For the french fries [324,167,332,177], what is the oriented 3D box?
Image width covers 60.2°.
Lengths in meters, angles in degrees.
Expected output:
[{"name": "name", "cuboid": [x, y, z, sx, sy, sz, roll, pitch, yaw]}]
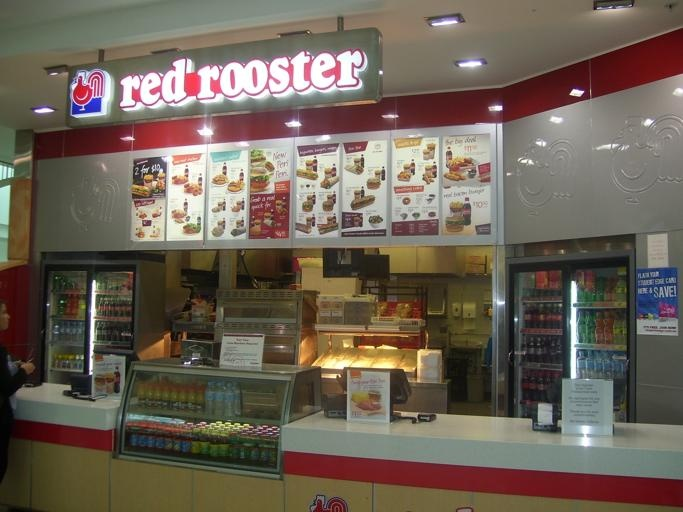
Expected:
[{"name": "french fries", "cuboid": [-0.149, -0.968, 6.713, 0.091, 0.087, 0.091, 3, 3, 22]}]

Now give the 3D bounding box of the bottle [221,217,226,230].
[{"name": "bottle", "cuboid": [-1.411, -0.386, 7.083, 0.064, 0.108, 0.026, 2, -4, 8]}]

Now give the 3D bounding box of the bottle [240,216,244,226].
[{"name": "bottle", "cuboid": [-1.174, -0.411, 7.000, 0.069, 0.096, 0.007, 0, -5, 18]}]

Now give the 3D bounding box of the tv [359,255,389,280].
[{"name": "tv", "cuboid": [0.413, 0.130, 7.452, 0.489, 0.348, 0.263, 0, -8, 9]}]

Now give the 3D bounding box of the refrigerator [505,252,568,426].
[{"name": "refrigerator", "cuboid": [2.092, 0.902, 6.283, 0.620, 1.660, 0.378, 0, -6, 20]}]

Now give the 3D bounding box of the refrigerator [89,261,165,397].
[{"name": "refrigerator", "cuboid": [-2.814, 0.688, 7.839, 0.807, 1.262, 0.622, 0, -5, 22]}]

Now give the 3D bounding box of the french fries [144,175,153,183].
[{"name": "french fries", "cuboid": [-2.433, -0.974, 7.452, 0.099, 0.103, 0.099, 2, 2, -15]}]

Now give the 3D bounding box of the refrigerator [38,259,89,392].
[{"name": "refrigerator", "cuboid": [-3.597, 0.937, 7.920, 0.676, 1.621, 0.483, -1, -6, 26]}]

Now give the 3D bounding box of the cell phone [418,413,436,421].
[{"name": "cell phone", "cuboid": [0.719, 1.323, 4.849, 0.217, 0.052, 0.111, 4, -5, -26]}]

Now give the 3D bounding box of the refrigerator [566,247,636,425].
[{"name": "refrigerator", "cuboid": [2.598, 0.783, 5.878, 0.725, 1.650, 0.452, -3, -7, 40]}]

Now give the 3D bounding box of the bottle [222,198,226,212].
[{"name": "bottle", "cuboid": [-1.411, -0.612, 7.082, 0.056, 0.138, 0.004, 1, -5, 12]}]

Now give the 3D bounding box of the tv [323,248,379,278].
[{"name": "tv", "cuboid": [0.072, 0.086, 7.569, 0.690, 0.464, 0.373, 0, 3, 6]}]
